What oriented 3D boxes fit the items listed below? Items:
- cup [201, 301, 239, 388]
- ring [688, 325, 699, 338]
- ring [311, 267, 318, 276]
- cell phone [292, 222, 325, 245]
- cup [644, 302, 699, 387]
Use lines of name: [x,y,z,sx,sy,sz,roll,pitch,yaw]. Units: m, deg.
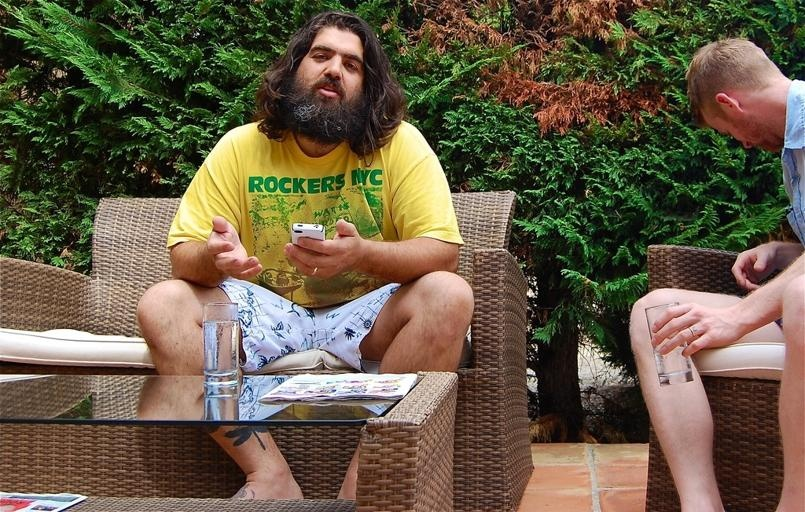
cup: [-0.589,0.281,2.084,0.117,0.259,0.131,1,5,-17]
ring: [1.021,0.264,2.265,0.008,0.029,0.029,-15,16,-12]
ring: [-0.351,0.063,2.556,0.025,0.033,0.009,20,15,-39]
cell phone: [-0.366,-0.089,2.462,0.090,0.091,0.024,3,38,8]
cup: [0.995,0.328,2.335,0.236,0.310,0.128,0,6,-27]
